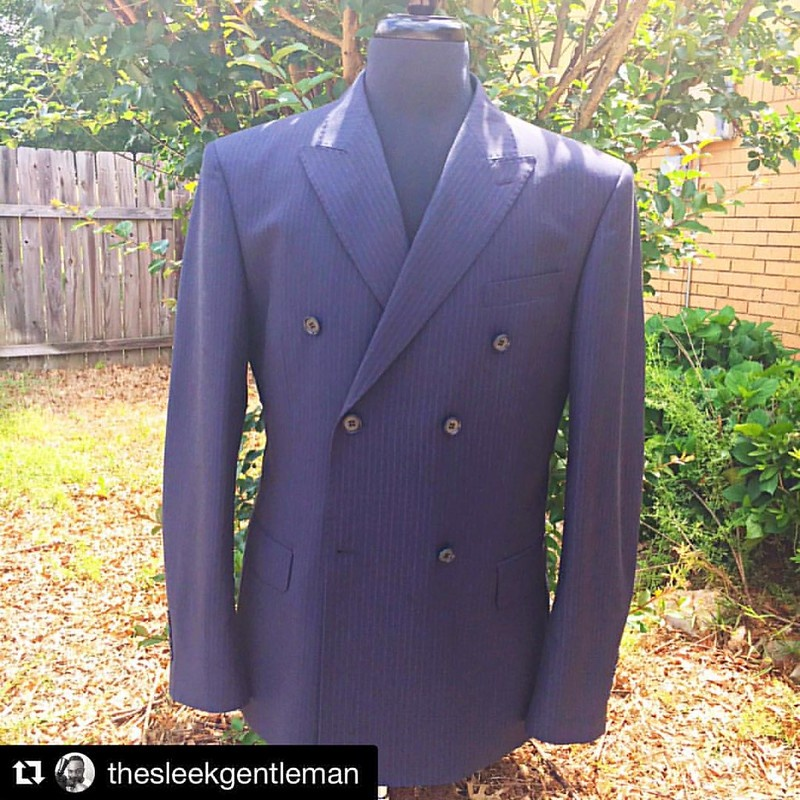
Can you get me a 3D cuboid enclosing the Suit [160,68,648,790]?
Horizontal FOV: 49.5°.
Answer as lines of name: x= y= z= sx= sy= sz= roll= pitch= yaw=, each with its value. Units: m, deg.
Suit: x=0.007 y=0.057 z=1.555 sx=0.889 sy=1.183 sz=0.495 roll=10 pitch=21 yaw=11
